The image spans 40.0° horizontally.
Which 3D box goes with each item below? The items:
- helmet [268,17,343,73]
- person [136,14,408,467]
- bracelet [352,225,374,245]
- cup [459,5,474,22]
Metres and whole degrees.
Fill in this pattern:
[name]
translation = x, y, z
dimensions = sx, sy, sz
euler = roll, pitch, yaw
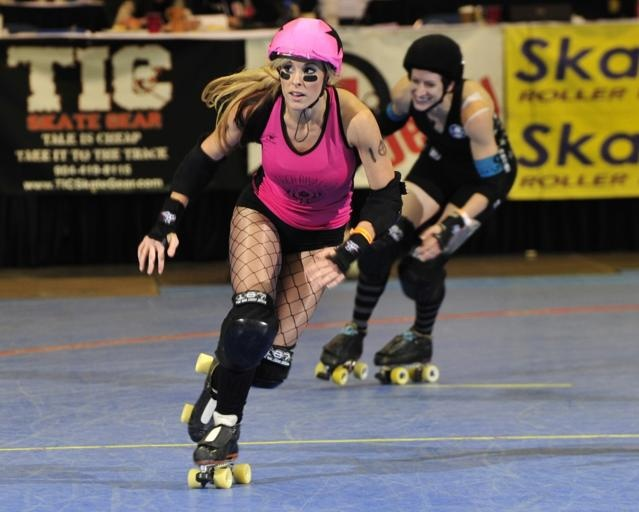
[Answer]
[helmet]
translation = -0.052, -0.988, 4.118
dimensions = 0.406, 0.228, 0.379
euler = 4, 6, -15
[person]
translation = -0.187, -0.075, 4.112
dimensions = 1.181, 2.022, 0.787
euler = -2, 8, -9
[bracelet]
translation = 0.200, -0.098, 3.966
dimensions = 0.090, 0.038, 0.077
euler = 34, 8, -1
[cup]
translation = 1.737, -2.831, 10.417
dimensions = 0.168, 0.212, 0.299
euler = 1, 8, 8
